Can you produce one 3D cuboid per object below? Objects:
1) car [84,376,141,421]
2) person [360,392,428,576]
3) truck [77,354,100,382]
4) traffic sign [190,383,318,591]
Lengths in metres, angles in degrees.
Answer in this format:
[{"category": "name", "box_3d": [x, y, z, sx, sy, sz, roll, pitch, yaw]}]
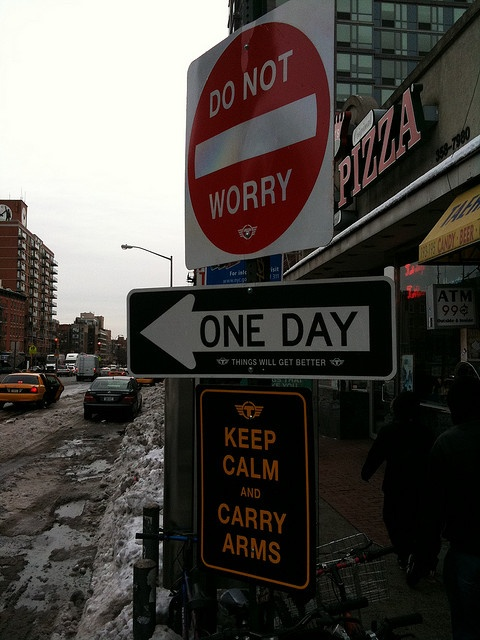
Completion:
[{"category": "car", "box_3d": [-4.353, 2.713, 18.970, 1.562, 1.414, 1.686, 0, -6, 0]}, {"category": "person", "box_3d": [1.288, 1.308, 4.439, 0.492, 1.562, 0.367, 11, 26, 31]}, {"category": "truck", "box_3d": [-16.202, 5.047, 58.864, 1.875, 3.214, 4.477, 0, -2, -5]}, {"category": "traffic sign", "box_3d": [0.042, 0.544, 1.792, 0.388, 0.813, 0.039, 3, 24, 12]}]
